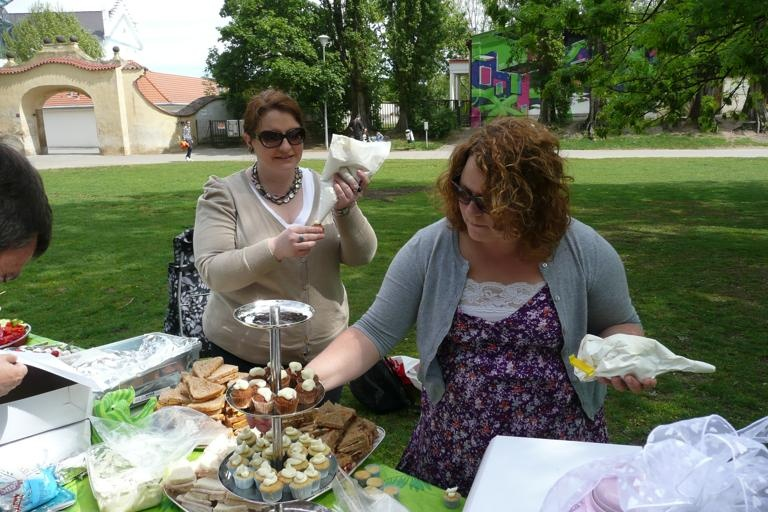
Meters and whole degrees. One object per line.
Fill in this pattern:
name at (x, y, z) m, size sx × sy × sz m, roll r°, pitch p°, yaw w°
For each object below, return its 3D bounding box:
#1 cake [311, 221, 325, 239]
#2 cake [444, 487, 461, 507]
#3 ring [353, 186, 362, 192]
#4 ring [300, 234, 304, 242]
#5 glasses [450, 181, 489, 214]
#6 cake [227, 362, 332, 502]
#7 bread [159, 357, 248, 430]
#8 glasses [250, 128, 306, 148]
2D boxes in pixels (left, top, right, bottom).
cake at (-0.388, -0.149, 2.646) m, size 0.071 × 0.062 × 0.118 m, roll -19°, pitch -25°, yaw -14°
cake at (0.308, 1.093, 2.056) m, size 0.076 × 0.072 × 0.065 m, roll 0°, pitch 16°, yaw 10°
ring at (-0.163, -0.394, 2.713) m, size 0.027 × 0.027 × 0.047 m, roll -46°, pitch 24°, yaw -6°
ring at (-0.465, -0.099, 2.568) m, size 0.031 × 0.034 × 0.010 m, roll -5°, pitch 16°, yaw -10°
glasses at (0.405, -0.270, 2.128) m, size 0.159 × 0.050 × 0.151 m, roll 26°, pitch 6°, yaw -47°
cake at (-0.469, 0.746, 2.142) m, size 0.544 × 0.424 × 0.528 m, roll 2°, pitch 15°, yaw 1°
bread at (-1.028, 0.823, 2.645) m, size 0.489 × 0.127 × 0.460 m, roll 10°, pitch 27°, yaw -19°
glasses at (-0.670, -0.783, 3.020) m, size 0.337 × 0.123 × 0.150 m, roll -8°, pitch 16°, yaw -21°
